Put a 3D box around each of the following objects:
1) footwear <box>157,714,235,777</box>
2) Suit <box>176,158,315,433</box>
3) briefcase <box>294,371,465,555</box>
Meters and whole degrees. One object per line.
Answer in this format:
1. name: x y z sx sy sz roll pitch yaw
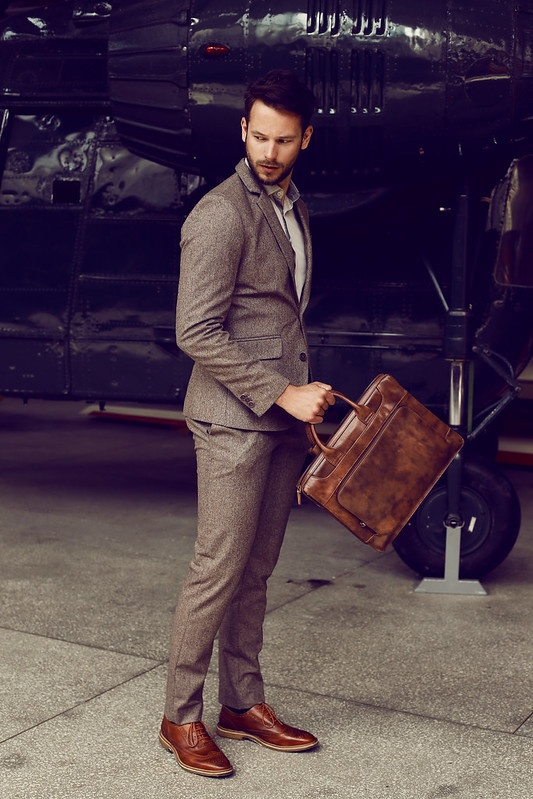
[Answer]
1. footwear: -0.198 0.890 1.892 0.106 0.107 0.242 9 0 -45
2. Suit: -0.049 -0.267 1.849 0.327 0.691 0.369 2 4 2
3. briefcase: 0.300 0.149 2.104 0.531 0.429 0.176 43 -9 -36
